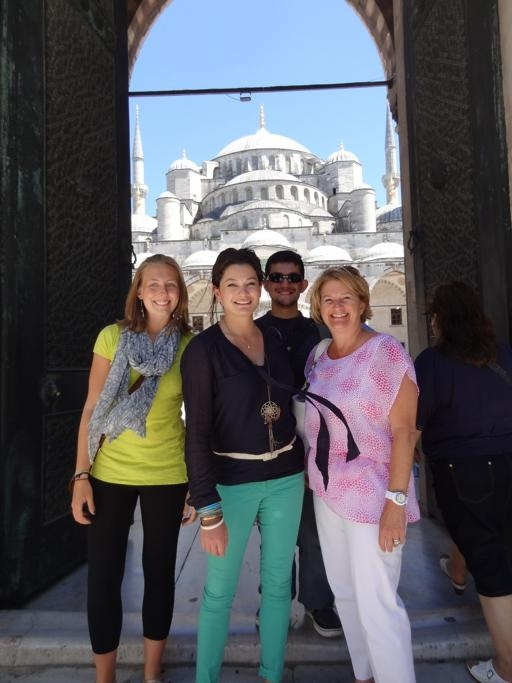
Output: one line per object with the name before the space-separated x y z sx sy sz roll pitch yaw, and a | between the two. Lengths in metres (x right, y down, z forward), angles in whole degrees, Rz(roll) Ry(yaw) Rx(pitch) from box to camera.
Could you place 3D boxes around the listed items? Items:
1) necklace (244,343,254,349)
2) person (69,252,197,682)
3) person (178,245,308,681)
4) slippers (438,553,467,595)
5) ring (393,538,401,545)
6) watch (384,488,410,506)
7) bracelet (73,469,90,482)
necklace | -0.024 0.018 2.606 0.021 0.020 0.008 2 -20 -17
person | -0.449 0.482 2.663 0.460 1.611 0.371 -3 3 -6
person | -0.040 0.482 2.586 0.510 1.645 0.341 -4 3 -22
slippers | 0.905 1.093 3.303 0.054 0.042 0.153 1 43 -9
ring | 0.468 0.671 2.380 0.017 0.011 0.022 0 -2 1
watch | 0.472 0.526 2.407 0.066 0.043 0.067 4 -9 21
bracelet | -0.648 0.497 2.595 0.068 0.042 0.048 -2 3 14
